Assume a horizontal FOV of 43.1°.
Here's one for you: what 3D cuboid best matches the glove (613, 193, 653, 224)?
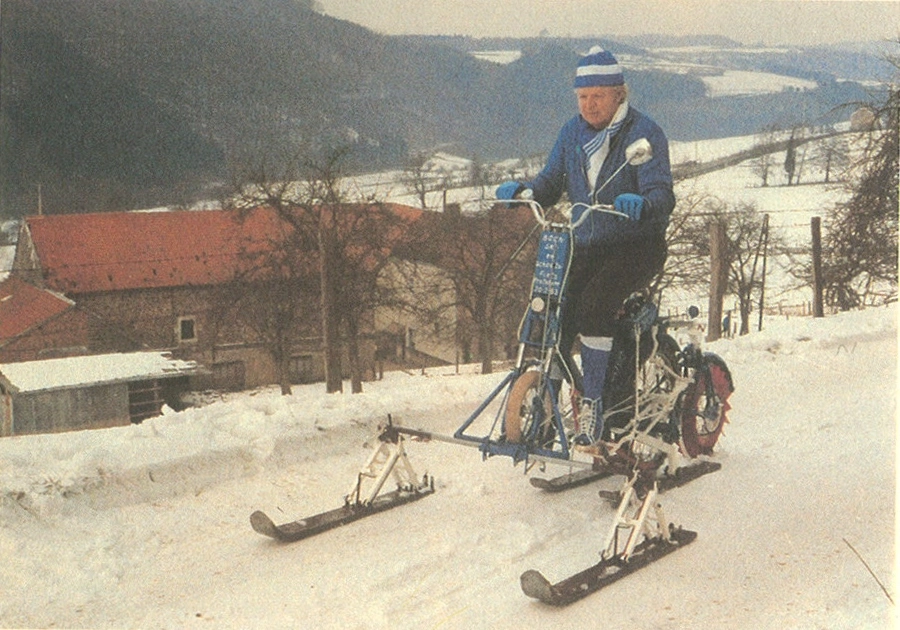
[{"bbox_3d":[2.409,-1.419,15.075,0.449,0.337,0.195,3,12,8],"label":"glove"}]

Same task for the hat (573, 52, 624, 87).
[{"bbox_3d":[2.047,-3.318,15.430,0.666,0.507,0.216,3,12,9],"label":"hat"}]

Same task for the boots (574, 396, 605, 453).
[{"bbox_3d":[1.923,1.465,15.488,0.248,0.375,0.838,-3,36,20],"label":"boots"}]

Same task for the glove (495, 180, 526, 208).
[{"bbox_3d":[0.858,-1.704,15.809,0.267,0.432,0.126,7,-8,15],"label":"glove"}]
